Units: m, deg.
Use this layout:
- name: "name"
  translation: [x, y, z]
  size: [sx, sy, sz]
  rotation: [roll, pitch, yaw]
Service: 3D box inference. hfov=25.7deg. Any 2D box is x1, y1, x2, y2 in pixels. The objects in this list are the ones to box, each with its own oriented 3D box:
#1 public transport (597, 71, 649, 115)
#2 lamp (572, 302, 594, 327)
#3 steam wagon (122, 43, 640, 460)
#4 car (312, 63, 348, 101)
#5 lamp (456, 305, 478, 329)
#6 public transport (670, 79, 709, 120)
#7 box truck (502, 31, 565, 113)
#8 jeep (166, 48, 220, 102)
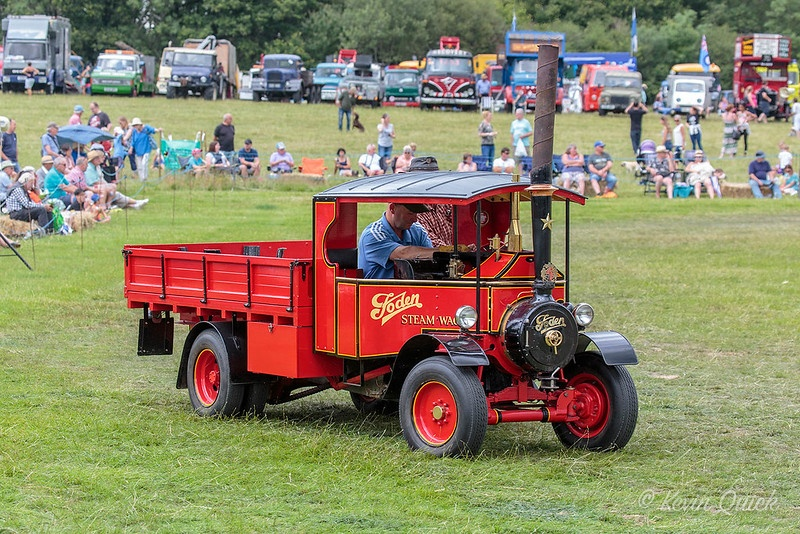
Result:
- name: "public transport"
  translation: [9.876, -7.828, 78.630]
  size: [1.710, 1.934, 3.632]
  rotation: [5, 10, 9]
- name: "lamp"
  translation: [4.037, 1.093, 38.861]
  size: [0.307, 0.338, 0.545]
  rotation: [7, 1, -28]
- name: "steam wagon"
  translation: [-0.687, -0.425, 41.421]
  size: [5.639, 8.854, 11.958]
  rotation: [1, 1, -43]
- name: "car"
  translation: [-3.409, -9.261, 85.228]
  size: [1.624, 1.573, 3.184]
  rotation: [2, 23, -1]
- name: "lamp"
  translation: [1.453, 1.136, 38.694]
  size: [0.487, 0.490, 0.280]
  rotation: [-4, 1, -23]
- name: "public transport"
  translation: [12.527, -7.670, 78.789]
  size: [2.516, 2.223, 3.753]
  rotation: [2, 9, 13]
- name: "box truck"
  translation: [6.111, -8.839, 80.086]
  size: [2.701, 3.522, 6.070]
  rotation: [1, 7, 7]
- name: "jeep"
  translation: [-9.217, -8.633, 78.600]
  size: [1.618, 1.970, 3.567]
  rotation: [1, 4, 2]
